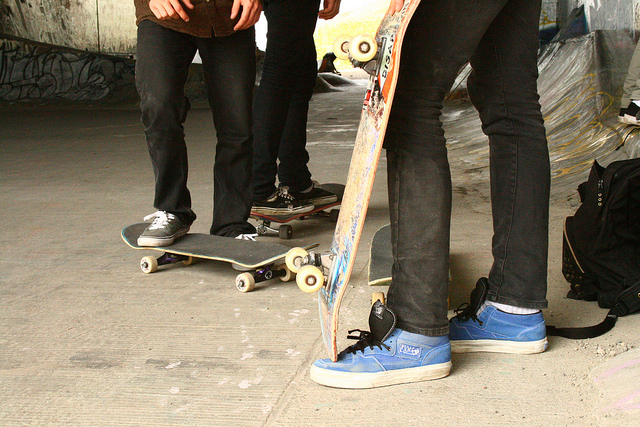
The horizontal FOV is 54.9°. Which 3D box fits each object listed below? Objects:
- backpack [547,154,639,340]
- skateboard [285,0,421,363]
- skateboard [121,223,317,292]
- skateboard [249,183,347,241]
[{"bbox_3d":[1.384,0.129,2.997,0.370,0.710,0.877,7,24,22],"label":"backpack"},{"bbox_3d":[0.167,-0.194,2.563,0.302,1.552,0.453,15,-3,9],"label":"skateboard"},{"bbox_3d":[-0.656,0.236,3.526,1.229,0.190,0.382,7,17,21],"label":"skateboard"},{"bbox_3d":[-0.087,-0.027,4.288,0.298,0.134,0.933,16,21,37],"label":"skateboard"}]
